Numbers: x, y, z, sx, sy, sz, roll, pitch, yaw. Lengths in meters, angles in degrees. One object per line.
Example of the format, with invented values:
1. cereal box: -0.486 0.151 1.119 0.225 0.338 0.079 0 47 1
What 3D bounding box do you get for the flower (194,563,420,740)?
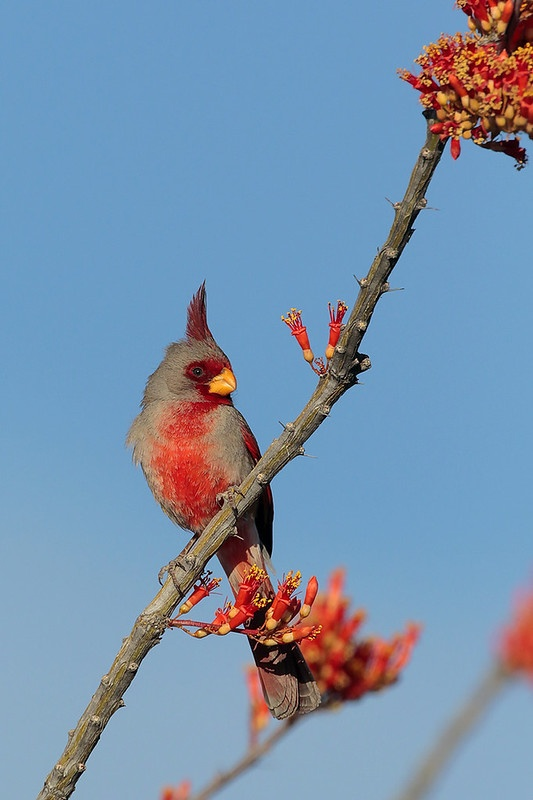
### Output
1. flower: 0.398 1.038 6.383 0.515 0.571 0.252 -14 -43 -17
